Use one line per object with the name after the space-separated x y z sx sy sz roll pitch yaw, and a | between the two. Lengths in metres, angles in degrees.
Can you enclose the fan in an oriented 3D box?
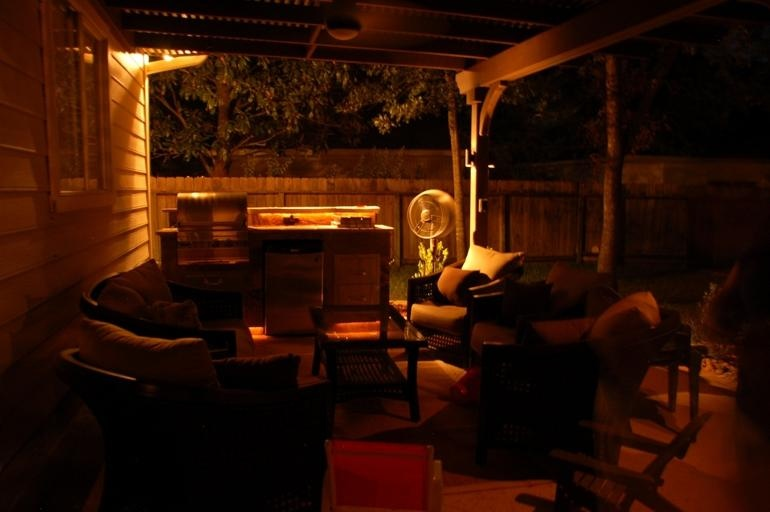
0.737 -0.280 8.790 0.648 1.396 0.794 2 8 -24 | fan
